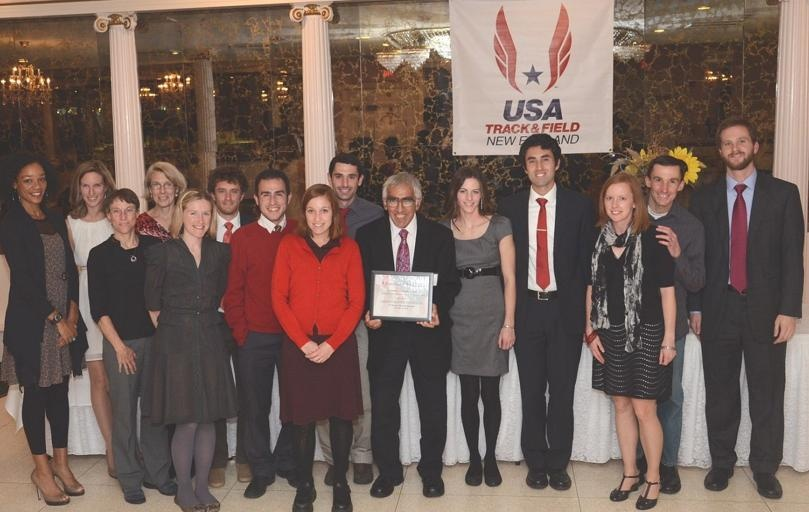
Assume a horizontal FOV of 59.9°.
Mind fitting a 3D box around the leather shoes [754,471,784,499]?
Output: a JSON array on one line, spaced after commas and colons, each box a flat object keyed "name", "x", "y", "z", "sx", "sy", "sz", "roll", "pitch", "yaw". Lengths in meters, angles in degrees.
[{"name": "leather shoes", "x": 3.027, "y": 1.903, "z": 5.865, "sx": 0.214, "sy": 0.166, "sz": 0.184, "roll": 1, "pitch": 7, "yaw": 27}]

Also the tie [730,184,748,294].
[{"name": "tie", "x": 2.788, "y": -0.157, "z": 5.880, "sx": 0.126, "sy": 0.898, "sz": 0.146, "roll": 0, "pitch": 6, "yaw": 24}]

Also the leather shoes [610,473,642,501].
[{"name": "leather shoes", "x": 1.885, "y": 1.898, "z": 5.889, "sx": 0.366, "sy": 0.144, "sz": 0.136, "roll": -19, "pitch": 4, "yaw": -38}]

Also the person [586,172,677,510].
[{"name": "person", "x": 1.826, "y": 0.682, "z": 5.739, "sx": 0.691, "sy": 2.718, "sz": 0.320, "roll": 0, "pitch": 6, "yaw": 21}]

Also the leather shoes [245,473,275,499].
[{"name": "leather shoes", "x": -1.244, "y": 1.945, "z": 5.984, "sx": 0.128, "sy": 0.099, "sz": 0.246, "roll": 5, "pitch": 3, "yaw": 21}]

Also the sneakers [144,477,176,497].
[{"name": "sneakers", "x": -2.101, "y": 1.952, "z": 6.012, "sx": 0.287, "sy": 0.084, "sz": 0.131, "roll": 3, "pitch": 7, "yaw": 12}]

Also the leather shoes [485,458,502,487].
[{"name": "leather shoes", "x": 0.752, "y": 1.853, "z": 6.012, "sx": 0.108, "sy": 0.107, "sz": 0.264, "roll": -2, "pitch": 9, "yaw": -3}]

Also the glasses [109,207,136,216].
[{"name": "glasses", "x": -2.347, "y": -0.377, "z": 5.821, "sx": 0.202, "sy": 0.076, "sz": 0.060, "roll": -5, "pitch": 6, "yaw": -21}]

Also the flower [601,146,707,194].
[{"name": "flower", "x": 2.401, "y": -0.935, "z": 7.109, "sx": 0.604, "sy": 0.218, "sz": 0.686, "roll": 21, "pitch": 0, "yaw": 34}]

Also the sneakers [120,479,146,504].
[{"name": "sneakers", "x": -2.294, "y": 1.979, "z": 5.909, "sx": 0.111, "sy": 0.198, "sz": 0.326, "roll": 1, "pitch": -8, "yaw": -39}]

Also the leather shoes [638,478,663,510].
[{"name": "leather shoes", "x": 1.997, "y": 1.935, "z": 5.751, "sx": 0.112, "sy": 0.134, "sz": 0.333, "roll": -3, "pitch": 7, "yaw": 32}]

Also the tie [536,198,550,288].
[{"name": "tie", "x": 1.152, "y": -0.110, "z": 5.938, "sx": 0.112, "sy": 0.764, "sz": 0.154, "roll": -2, "pitch": 6, "yaw": 10}]

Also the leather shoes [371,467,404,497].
[{"name": "leather shoes", "x": -0.137, "y": 1.899, "z": 5.945, "sx": 0.163, "sy": 0.117, "sz": 0.305, "roll": 3, "pitch": 30, "yaw": 33}]

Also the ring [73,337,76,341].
[{"name": "ring", "x": -2.836, "y": 0.701, "z": 6.016, "sx": 0.027, "sy": 0.035, "sz": 0.013, "roll": 2, "pitch": 2, "yaw": -23}]

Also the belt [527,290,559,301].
[{"name": "belt", "x": 1.155, "y": 0.330, "z": 5.914, "sx": 0.229, "sy": 0.092, "sz": 0.025, "roll": -1, "pitch": 6, "yaw": 8}]

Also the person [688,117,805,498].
[{"name": "person", "x": 2.838, "y": 0.432, "z": 5.860, "sx": 0.864, "sy": 3.098, "sz": 0.466, "roll": 0, "pitch": 6, "yaw": 21}]

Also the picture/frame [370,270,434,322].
[{"name": "picture/frame", "x": -0.022, "y": 0.321, "z": 5.693, "sx": 0.408, "sy": 0.299, "sz": 0.027, "roll": 3, "pitch": -2, "yaw": 5}]

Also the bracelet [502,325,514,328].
[{"name": "bracelet", "x": 0.862, "y": 0.591, "z": 5.910, "sx": 0.074, "sy": 0.032, "sz": 0.027, "roll": -2, "pitch": 6, "yaw": 4}]

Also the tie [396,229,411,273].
[{"name": "tie", "x": -0.024, "y": -0.059, "z": 5.820, "sx": 0.123, "sy": 0.339, "sz": 0.052, "roll": -3, "pitch": 6, "yaw": -2}]

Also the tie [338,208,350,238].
[{"name": "tie", "x": -0.574, "y": -0.316, "z": 6.237, "sx": 0.067, "sy": 0.214, "sz": 0.161, "roll": 2, "pitch": -11, "yaw": -25}]

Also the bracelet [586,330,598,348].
[{"name": "bracelet", "x": 1.539, "y": 0.675, "z": 5.816, "sx": 0.030, "sy": 0.120, "sz": 0.086, "roll": 36, "pitch": -23, "yaw": -20}]
